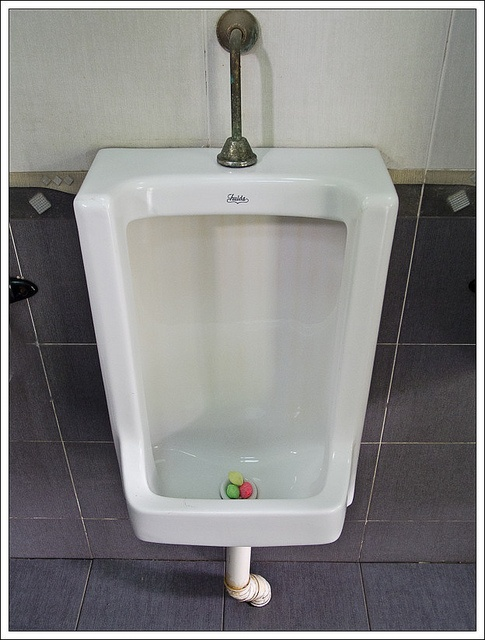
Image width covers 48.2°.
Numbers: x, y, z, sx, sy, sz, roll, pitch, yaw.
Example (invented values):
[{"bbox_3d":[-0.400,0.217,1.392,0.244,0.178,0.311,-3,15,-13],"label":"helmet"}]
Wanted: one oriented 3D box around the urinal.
[{"bbox_3d":[-0.018,0.023,0.956,0.579,0.803,0.570,-1,51,1],"label":"urinal"}]
